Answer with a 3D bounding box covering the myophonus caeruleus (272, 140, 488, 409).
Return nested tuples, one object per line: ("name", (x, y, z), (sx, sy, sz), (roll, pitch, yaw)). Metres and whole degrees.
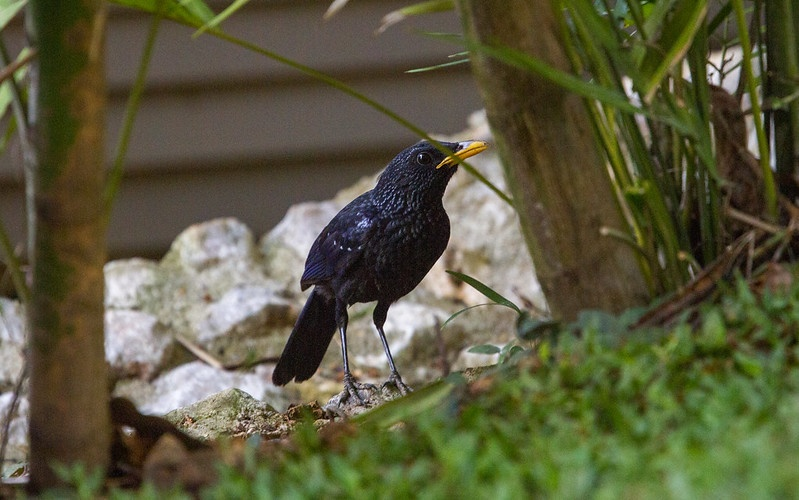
("myophonus caeruleus", (-0.094, 0.072, 3.344), (0.818, 0.820, 0.368), (3, 5, 42))
